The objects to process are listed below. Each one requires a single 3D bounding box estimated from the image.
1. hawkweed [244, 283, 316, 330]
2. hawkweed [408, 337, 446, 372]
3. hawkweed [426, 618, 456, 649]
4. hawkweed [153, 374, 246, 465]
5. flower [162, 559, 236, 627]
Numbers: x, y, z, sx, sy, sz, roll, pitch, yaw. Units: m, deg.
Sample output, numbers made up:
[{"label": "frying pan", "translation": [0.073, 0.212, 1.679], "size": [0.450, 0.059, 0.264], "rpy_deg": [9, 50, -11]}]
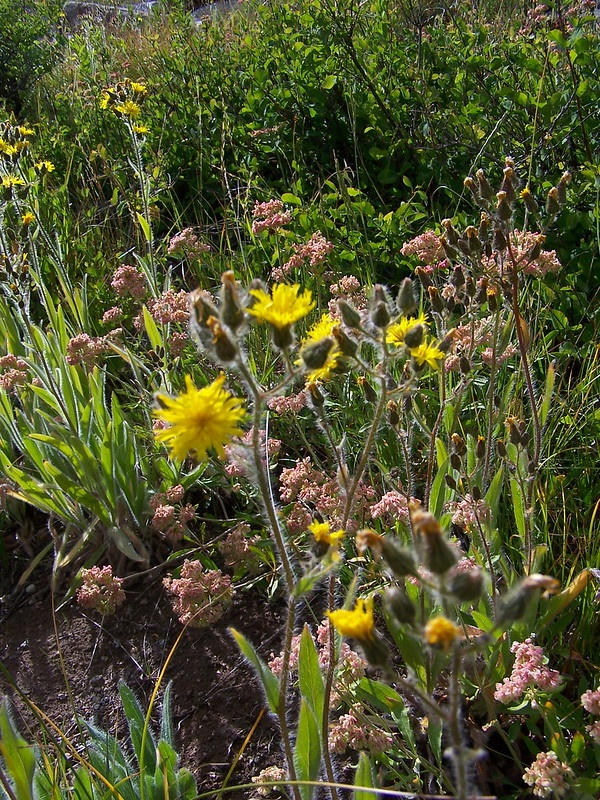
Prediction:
[{"label": "hawkweed", "translation": [-0.027, -0.162, 1.378], "size": [0.101, 0.061, 0.104], "rpy_deg": [12, 26, 23]}, {"label": "hawkweed", "translation": [0.306, -0.107, 1.739], "size": [0.099, 0.041, 0.096], "rpy_deg": [10, 62, -2]}, {"label": "hawkweed", "translation": [0.186, 0.305, 0.947], "size": [0.033, 0.022, 0.040], "rpy_deg": [-40, -14, 7]}, {"label": "hawkweed", "translation": [-0.176, 0.033, 1.302], "size": [0.166, 0.160, 0.077], "rpy_deg": [-18, -13, -1]}, {"label": "flower", "translation": [-0.321, 0.628, 2.338], "size": [0.197, 0.221, 0.187], "rpy_deg": [-15, 28, -14]}]
